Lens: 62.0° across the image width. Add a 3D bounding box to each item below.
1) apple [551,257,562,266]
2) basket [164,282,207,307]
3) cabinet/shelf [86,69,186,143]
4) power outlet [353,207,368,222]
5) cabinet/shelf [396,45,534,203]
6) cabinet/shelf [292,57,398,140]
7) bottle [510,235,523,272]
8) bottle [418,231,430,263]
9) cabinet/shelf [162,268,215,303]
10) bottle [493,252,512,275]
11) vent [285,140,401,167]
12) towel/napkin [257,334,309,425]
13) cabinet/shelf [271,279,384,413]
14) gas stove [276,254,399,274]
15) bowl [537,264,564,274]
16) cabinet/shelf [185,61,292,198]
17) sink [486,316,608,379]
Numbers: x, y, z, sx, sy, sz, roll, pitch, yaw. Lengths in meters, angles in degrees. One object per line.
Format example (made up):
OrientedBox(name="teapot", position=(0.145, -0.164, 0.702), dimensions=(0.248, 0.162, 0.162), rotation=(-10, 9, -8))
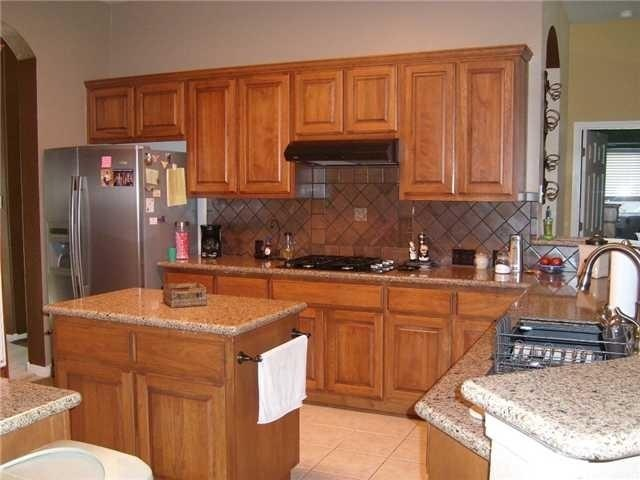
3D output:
OrientedBox(name="apple", position=(1.829, 0.163, 4.125), dimensions=(0.051, 0.065, 0.053), rotation=(18, -14, 31))
OrientedBox(name="basket", position=(-0.773, 0.301, 3.054), dimensions=(0.243, 0.111, 0.268), rotation=(-3, 8, -17))
OrientedBox(name="cabinet/shelf", position=(-1.738, -1.243, 5.044), dimensions=(0.790, 0.444, 0.248), rotation=(2, 6, 18))
OrientedBox(name="power outlet", position=(0.366, -0.227, 4.762), dimensions=(0.124, 0.124, 0.012), rotation=(2, 9, 19))
OrientedBox(name="cabinet/shelf", position=(1.178, -0.925, 4.276), dimensions=(1.057, 1.155, 0.476), rotation=(9, 20, 37))
OrientedBox(name="cabinet/shelf", position=(0.169, -1.207, 4.544), dimensions=(0.913, 0.554, 0.426), rotation=(-5, 21, -10))
OrientedBox(name="bottle", position=(1.508, 0.107, 4.104), dimensions=(0.086, 0.280, 0.203), rotation=(2, 9, 17))
OrientedBox(name="bottle", position=(0.874, 0.058, 4.482), dimensions=(0.098, 0.222, 0.234), rotation=(1, 8, 10))
OrientedBox(name="cabinet/shelf", position=(-1.153, 0.437, 4.554), dimensions=(0.484, 0.268, 0.236), rotation=(1, 2, 7))
OrientedBox(name="bottle", position=(1.418, 0.178, 4.108), dimensions=(0.121, 0.156, 0.140), rotation=(3, 9, 20))
OrientedBox(name="vent", position=(0.191, -0.735, 4.443), dimensions=(0.944, 0.201, 0.538), rotation=(1, 8, 12))
OrientedBox(name="towel/napkin", position=(-0.208, 0.723, 2.806), dimensions=(0.078, 0.420, 0.568), rotation=(3, 6, 28))
OrientedBox(name="cabinet/shelf", position=(0.101, 0.748, 3.806), dimensions=(1.120, 1.004, 0.383), rotation=(0, 0, 20))
OrientedBox(name="gas stove", position=(0.182, 0.179, 4.493), dimensions=(0.923, 0.048, 0.700), rotation=(3, 8, 22))
OrientedBox(name="bowl", position=(1.787, 0.218, 4.118), dimensions=(0.170, 0.069, 0.127), rotation=(3, 8, 22))
OrientedBox(name="cabinet/shelf", position=(-0.688, -0.973, 4.676), dimensions=(1.307, 1.368, 0.501), rotation=(1, 3, 18))
OrientedBox(name="sink", position=(0.851, 0.348, 1.982), dimensions=(0.313, 0.130, 0.301), rotation=(-3, 8, 24))
